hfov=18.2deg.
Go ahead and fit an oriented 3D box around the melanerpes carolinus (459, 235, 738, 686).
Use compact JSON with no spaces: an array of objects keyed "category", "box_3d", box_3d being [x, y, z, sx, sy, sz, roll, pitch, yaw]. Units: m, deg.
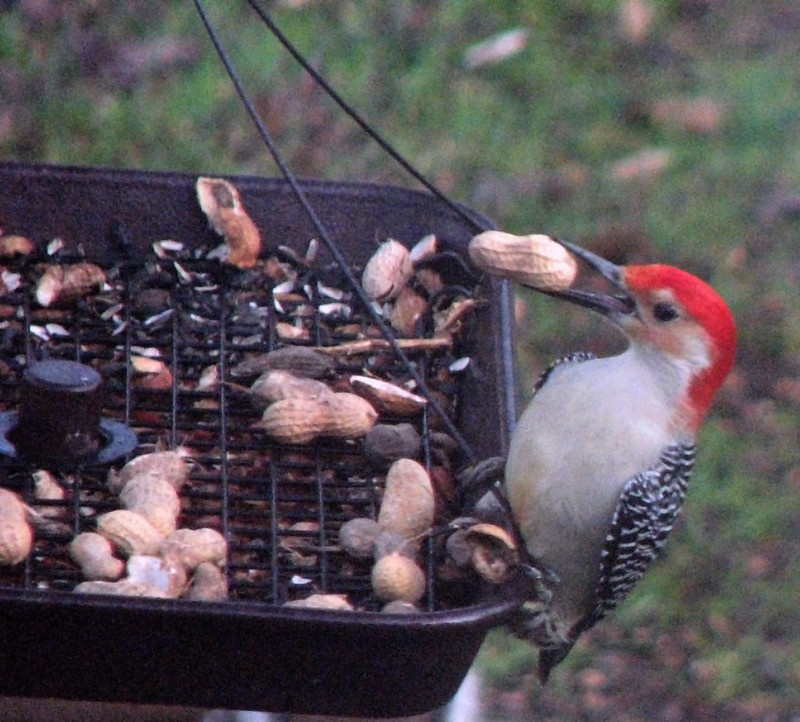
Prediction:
[{"category":"melanerpes carolinus","box_3d":[0.442,0.273,5.520,0.422,0.970,0.363,15,32,5]}]
